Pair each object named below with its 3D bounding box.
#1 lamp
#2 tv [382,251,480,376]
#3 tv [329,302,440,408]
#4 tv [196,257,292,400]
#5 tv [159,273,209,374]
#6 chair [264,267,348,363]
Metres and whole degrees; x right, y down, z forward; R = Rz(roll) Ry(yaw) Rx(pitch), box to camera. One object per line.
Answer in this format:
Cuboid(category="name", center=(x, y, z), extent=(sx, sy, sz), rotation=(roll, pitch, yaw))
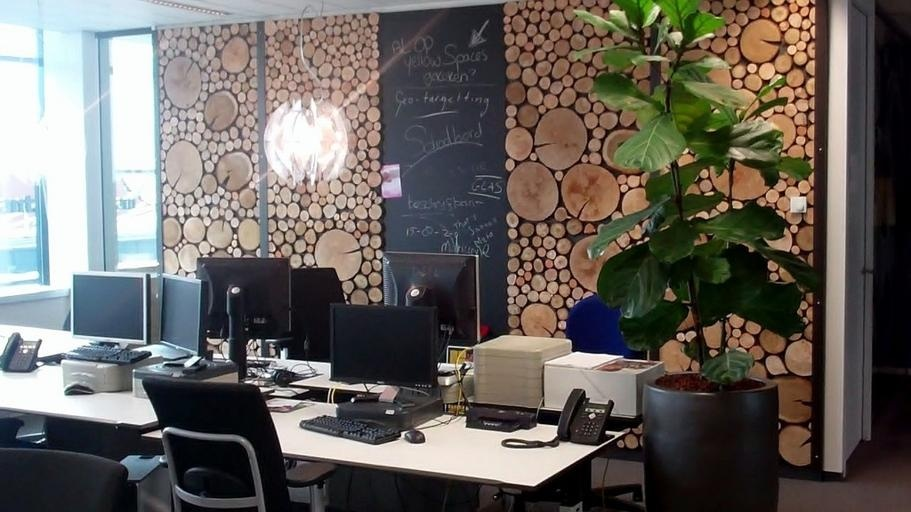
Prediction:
Cuboid(category="lamp", center=(-1.499, -1.608, 6.694), extent=(0.671, 1.790, 0.802), rotation=(-1, -1, 14))
Cuboid(category="tv", center=(-0.191, 0.410, 4.850), extent=(0.848, 0.827, 0.290), rotation=(3, 8, 21))
Cuboid(category="tv", center=(-0.487, 0.677, 4.716), extent=(0.767, 0.519, 0.079), rotation=(1, 0, 16))
Cuboid(category="tv", center=(-1.639, 0.531, 5.208), extent=(1.040, 1.201, 0.368), rotation=(1, 5, 4))
Cuboid(category="tv", center=(-2.086, 0.514, 5.183), extent=(0.694, 0.690, 0.237), rotation=(5, 4, 36))
Cuboid(category="chair", center=(-1.127, 0.473, 5.814), extent=(0.743, 0.983, 0.731), rotation=(1, 2, 11))
